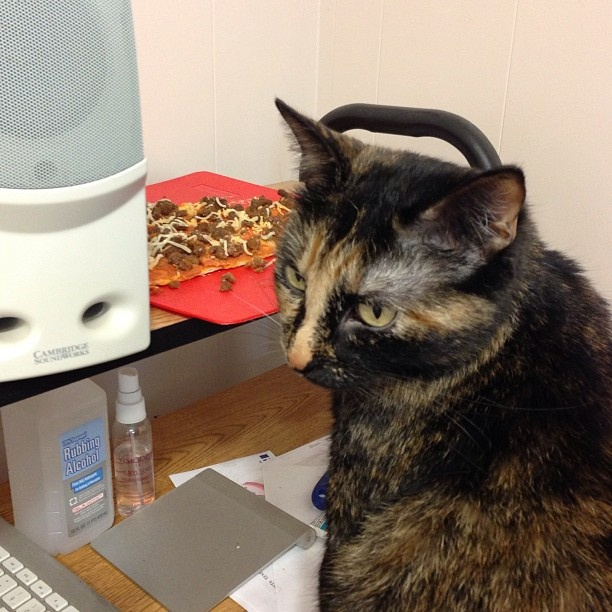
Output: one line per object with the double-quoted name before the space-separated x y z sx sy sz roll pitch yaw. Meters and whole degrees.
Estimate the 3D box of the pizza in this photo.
"pizza" -0.095 -0.065 0.808 0.176 0.024 0.196 -3 27 1
